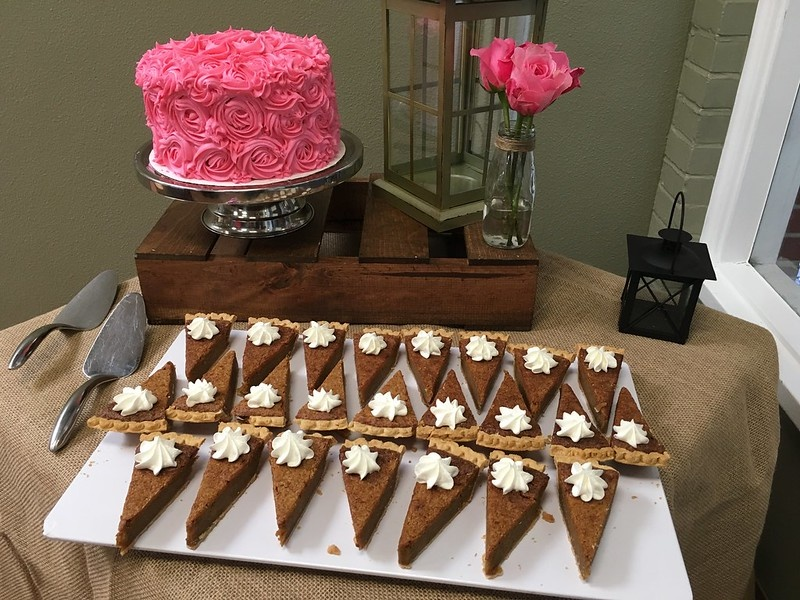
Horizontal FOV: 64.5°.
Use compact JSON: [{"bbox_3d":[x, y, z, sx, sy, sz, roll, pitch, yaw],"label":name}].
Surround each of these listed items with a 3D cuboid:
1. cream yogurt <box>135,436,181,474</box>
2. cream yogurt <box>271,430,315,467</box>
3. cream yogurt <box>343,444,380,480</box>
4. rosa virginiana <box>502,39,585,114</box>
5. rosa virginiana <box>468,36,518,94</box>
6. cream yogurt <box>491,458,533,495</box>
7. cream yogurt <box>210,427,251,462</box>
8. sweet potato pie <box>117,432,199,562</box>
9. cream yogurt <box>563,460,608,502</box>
[{"bbox_3d":[-0.427,0.287,1.126,0.061,0.036,0.060,-31,52,-31],"label":"cream yogurt"},{"bbox_3d":[-0.193,0.265,1.127,0.057,0.027,0.061,9,51,7],"label":"cream yogurt"},{"bbox_3d":[-0.068,0.284,1.116,0.044,0.027,0.061,0,45,-3],"label":"cream yogurt"},{"bbox_3d":[0.275,-0.427,1.270,0.135,0.084,0.133,1,55,-16],"label":"rosa virginiana"},{"bbox_3d":[0.194,-0.471,1.316,0.114,0.124,0.107,-18,19,-21],"label":"rosa virginiana"},{"bbox_3d":[0.196,0.305,1.098,0.053,0.020,0.055,-19,39,-17],"label":"cream yogurt"},{"bbox_3d":[-0.301,0.258,1.129,0.053,0.019,0.055,-9,40,-6],"label":"cream yogurt"},{"bbox_3d":[-0.421,0.341,1.115,0.093,0.056,0.181,6,41,13],"label":"sweet potato pie"},{"bbox_3d":[0.321,0.302,1.096,0.071,0.022,0.072,-6,55,8],"label":"cream yogurt"}]
